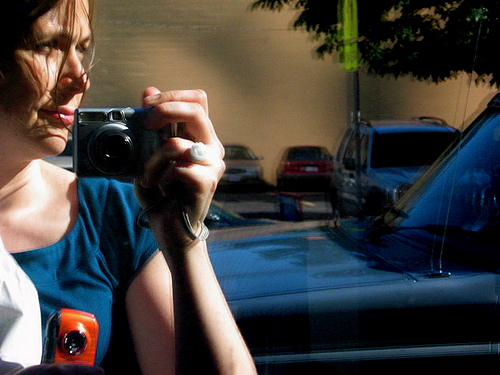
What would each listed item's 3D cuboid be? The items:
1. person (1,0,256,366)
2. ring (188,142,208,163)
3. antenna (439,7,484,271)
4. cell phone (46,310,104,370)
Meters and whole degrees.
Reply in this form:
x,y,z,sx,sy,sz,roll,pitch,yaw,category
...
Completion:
x,y,z,sx,sy,sz,roll,pitch,yaw,category
-0.456,0.007,2.400,0.836,1.231,0.580,1,17,-1,person
-0.172,-0.120,2.363,0.065,0.063,0.029,-2,18,-13,ring
0.851,-0.209,2.672,0.109,1.179,0.145,6,-8,16,antenna
-0.595,0.513,2.388,0.165,0.183,0.118,-5,18,-19,cell phone
